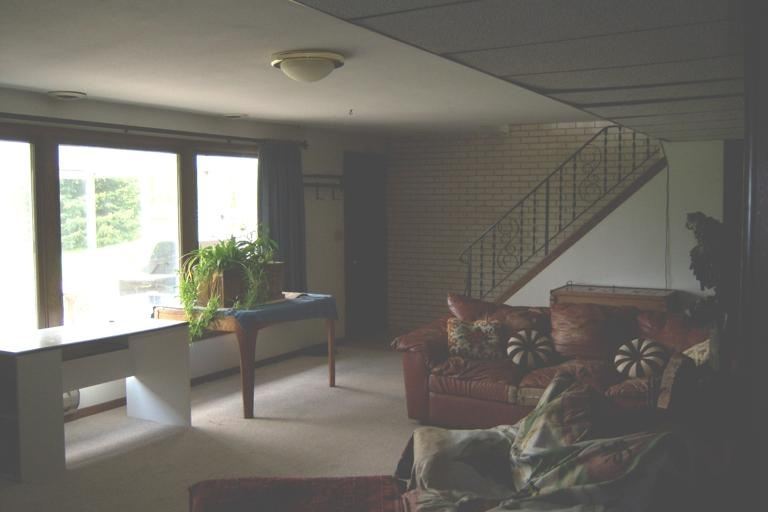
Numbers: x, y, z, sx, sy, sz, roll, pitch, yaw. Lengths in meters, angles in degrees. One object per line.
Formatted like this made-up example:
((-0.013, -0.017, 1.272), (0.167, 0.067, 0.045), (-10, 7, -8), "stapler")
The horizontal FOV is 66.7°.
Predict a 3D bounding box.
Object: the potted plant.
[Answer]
((-1.170, 0.199, 4.655), (0.860, 0.614, 0.872), (0, 3, 31), "potted plant")

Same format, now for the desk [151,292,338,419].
((-0.944, 0.638, 4.788), (1.066, 0.658, 1.095), (-2, -1, 37), "desk")

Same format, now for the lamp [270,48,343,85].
((-0.423, -1.068, 3.301), (0.414, 0.146, 0.210), (-2, 4, -11), "lamp")
